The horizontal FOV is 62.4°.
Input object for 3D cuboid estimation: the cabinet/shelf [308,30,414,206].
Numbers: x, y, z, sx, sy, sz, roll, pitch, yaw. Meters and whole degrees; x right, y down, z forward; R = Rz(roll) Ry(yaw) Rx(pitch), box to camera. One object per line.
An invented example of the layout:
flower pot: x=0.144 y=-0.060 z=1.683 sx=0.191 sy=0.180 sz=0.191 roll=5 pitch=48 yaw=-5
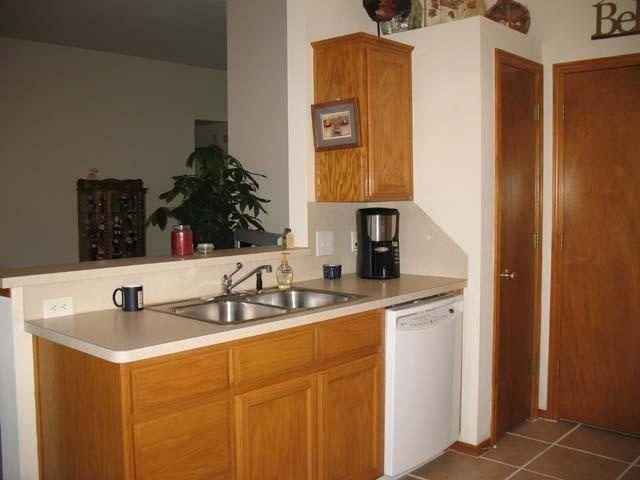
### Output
cabinet/shelf: x=0.321 y=-0.798 z=3.478 sx=0.564 sy=0.941 sz=0.410 roll=-22 pitch=27 yaw=-28

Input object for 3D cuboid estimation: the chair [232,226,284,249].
chair: x=-0.413 y=-0.019 z=3.511 sx=0.147 sy=0.121 sz=0.550 roll=-6 pitch=4 yaw=-35

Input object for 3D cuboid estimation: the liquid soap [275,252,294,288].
liquid soap: x=-0.218 y=0.173 z=3.177 sx=0.097 sy=0.212 sz=0.238 roll=-4 pitch=3 yaw=-6

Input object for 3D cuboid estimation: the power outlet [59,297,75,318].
power outlet: x=-1.193 y=0.311 z=2.483 sx=0.010 sy=0.096 sz=0.094 roll=0 pitch=0 yaw=40

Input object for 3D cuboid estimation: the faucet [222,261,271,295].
faucet: x=-0.413 y=0.204 z=3.005 sx=0.271 sy=0.172 sz=0.297 roll=-4 pitch=3 yaw=-7

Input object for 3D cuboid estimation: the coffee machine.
coffee machine: x=0.391 y=0.004 z=3.583 sx=0.286 sy=0.467 sz=0.289 roll=0 pitch=9 yaw=2

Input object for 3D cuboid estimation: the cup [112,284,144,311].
cup: x=-0.929 y=0.275 z=2.580 sx=0.154 sy=0.133 sz=0.098 roll=-1 pitch=6 yaw=-17

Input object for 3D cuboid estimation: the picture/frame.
picture/frame: x=0.114 y=-0.723 z=3.260 sx=0.352 sy=0.318 sz=0.036 roll=1 pitch=6 yaw=36

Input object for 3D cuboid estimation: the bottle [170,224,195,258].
bottle: x=-0.770 y=-0.001 z=2.947 sx=0.115 sy=0.175 sz=0.117 roll=0 pitch=6 yaw=0

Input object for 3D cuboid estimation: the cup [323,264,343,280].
cup: x=0.083 y=0.202 z=3.452 sx=0.082 sy=0.080 sz=0.105 roll=5 pitch=8 yaw=41

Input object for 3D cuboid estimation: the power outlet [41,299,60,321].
power outlet: x=-1.250 y=0.318 z=2.440 sx=0.093 sy=0.109 sz=0.012 roll=-1 pitch=3 yaw=-42

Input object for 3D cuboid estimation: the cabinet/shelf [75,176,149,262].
cabinet/shelf: x=-2.407 y=-0.111 z=6.038 sx=0.680 sy=1.369 sz=0.186 roll=-5 pitch=38 yaw=-29
